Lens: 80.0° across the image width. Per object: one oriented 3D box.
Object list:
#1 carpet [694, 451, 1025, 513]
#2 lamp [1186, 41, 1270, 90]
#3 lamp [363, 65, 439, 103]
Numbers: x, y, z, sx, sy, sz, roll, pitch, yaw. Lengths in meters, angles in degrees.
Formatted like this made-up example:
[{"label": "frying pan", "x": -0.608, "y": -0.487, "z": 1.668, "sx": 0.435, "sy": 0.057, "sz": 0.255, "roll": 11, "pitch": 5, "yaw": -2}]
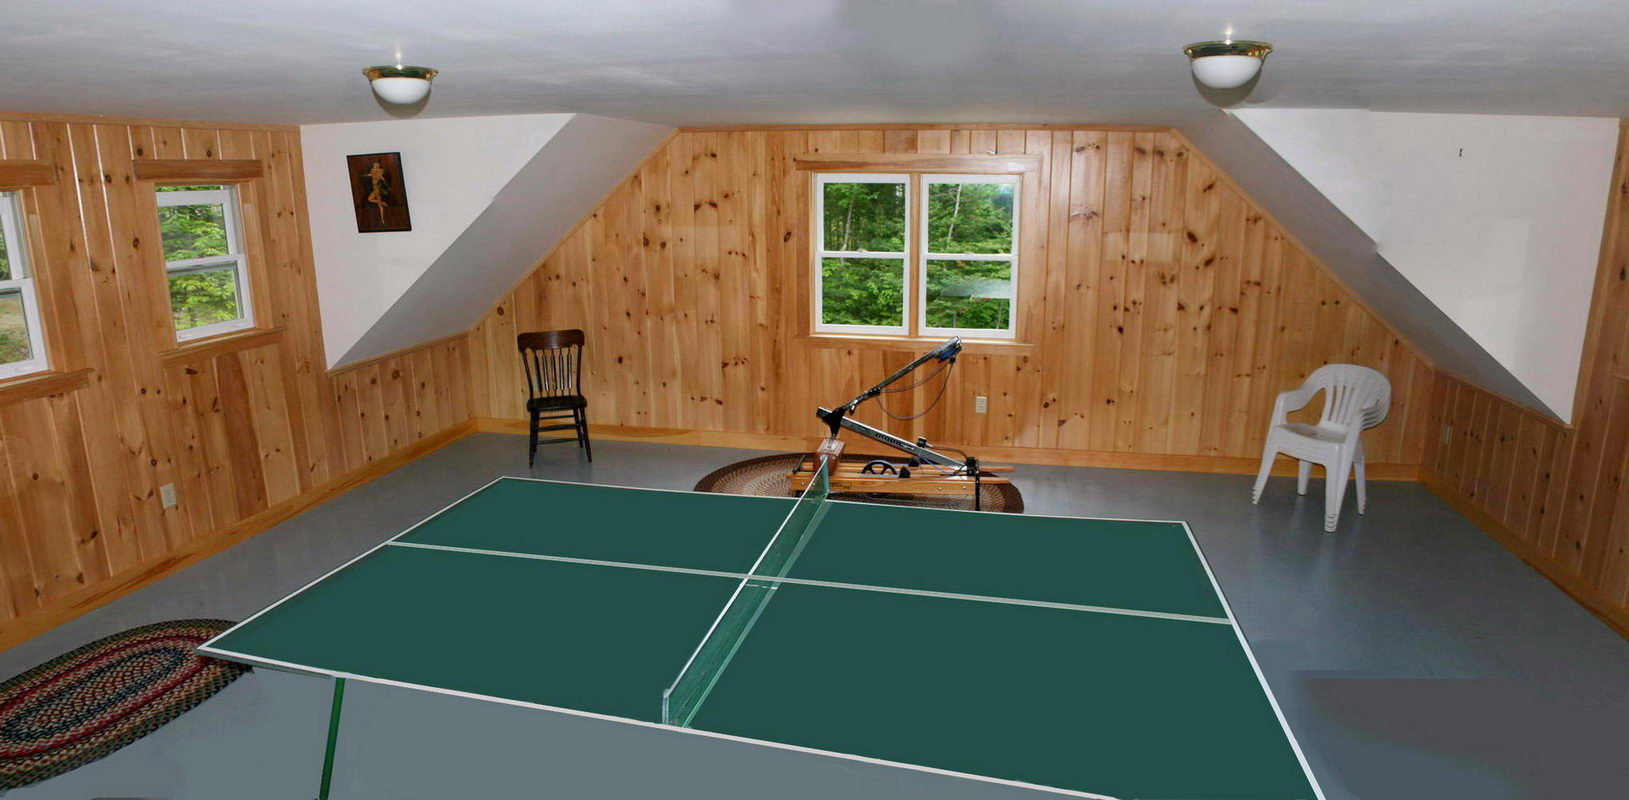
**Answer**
[{"label": "carpet", "x": 0.346, "y": 0.698, "z": 8.295, "sx": 2.151, "sy": 0.568, "sz": 0.901, "roll": 2, "pitch": 8, "yaw": 9}, {"label": "lamp", "x": 2.350, "y": -1.862, "z": 5.476, "sx": 0.498, "sy": 0.170, "sz": 0.494, "roll": 12, "pitch": 8, "yaw": 42}, {"label": "lamp", "x": -2.442, "y": -1.839, "z": 5.708, "sx": 0.314, "sy": 0.099, "sz": 0.267, "roll": -3, "pitch": 12, "yaw": -13}]
